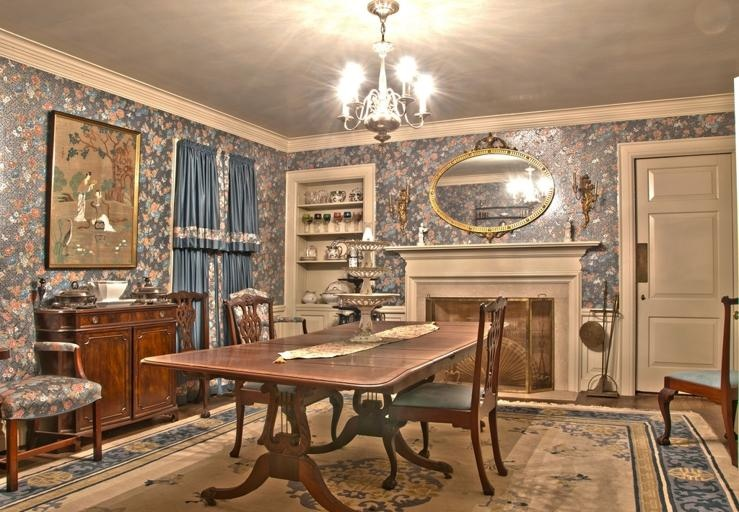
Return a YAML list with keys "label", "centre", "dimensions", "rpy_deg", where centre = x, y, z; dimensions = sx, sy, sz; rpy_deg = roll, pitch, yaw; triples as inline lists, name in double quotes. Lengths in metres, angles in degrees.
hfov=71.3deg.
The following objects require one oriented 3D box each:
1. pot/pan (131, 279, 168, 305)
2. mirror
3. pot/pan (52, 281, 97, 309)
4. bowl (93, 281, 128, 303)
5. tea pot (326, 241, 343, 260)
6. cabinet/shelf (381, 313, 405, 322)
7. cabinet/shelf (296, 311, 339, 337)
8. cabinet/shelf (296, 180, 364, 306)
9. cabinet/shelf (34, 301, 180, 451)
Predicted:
- label: "pot/pan"
  centre: [-2.132, 0.336, 5.021]
  dimensions: [0.290, 0.190, 0.274]
  rpy_deg: [-1, -2, -5]
- label: "mirror"
  centre: [1.564, -0.842, 6.289]
  dimensions: [1.669, 1.270, 0.125]
  rpy_deg: [0, 1, 18]
- label: "pot/pan"
  centre: [-2.591, 0.321, 4.519]
  dimensions: [0.304, 0.158, 0.281]
  rpy_deg: [-1, -5, 10]
- label: "bowl"
  centre: [-2.401, 0.310, 4.785]
  dimensions: [0.226, 0.164, 0.245]
  rpy_deg: [-2, -9, 0]
- label: "tea pot"
  centre: [-0.472, -0.087, 7.067]
  dimensions: [0.305, 0.228, 0.200]
  rpy_deg: [0, -3, 3]
- label: "cabinet/shelf"
  centre: [0.313, 0.734, 6.588]
  dimensions: [0.241, 0.190, 0.121]
  rpy_deg: [-2, -9, 15]
- label: "cabinet/shelf"
  centre: [-0.603, 0.788, 6.209]
  dimensions: [0.420, 0.330, 0.140]
  rpy_deg: [-3, -6, 21]
- label: "cabinet/shelf"
  centre: [-0.559, -0.290, 7.178]
  dimensions: [1.214, 1.857, 0.398]
  rpy_deg: [0, 4, 14]
- label: "cabinet/shelf"
  centre: [-2.263, 1.013, 4.343]
  dimensions: [0.528, 1.073, 1.302]
  rpy_deg: [-5, -6, 27]
